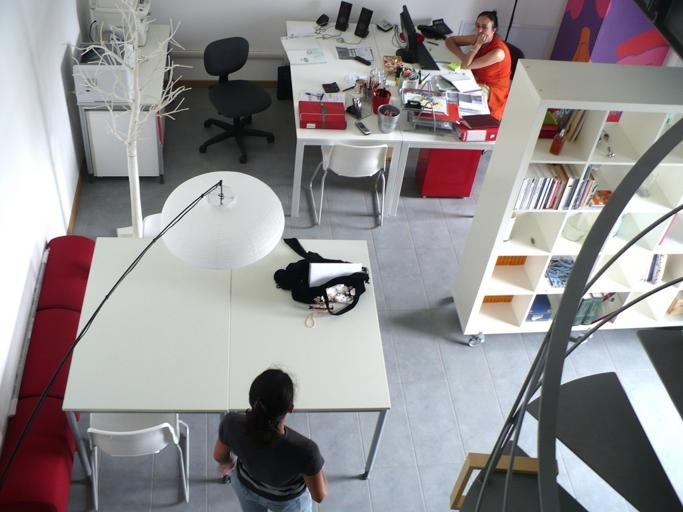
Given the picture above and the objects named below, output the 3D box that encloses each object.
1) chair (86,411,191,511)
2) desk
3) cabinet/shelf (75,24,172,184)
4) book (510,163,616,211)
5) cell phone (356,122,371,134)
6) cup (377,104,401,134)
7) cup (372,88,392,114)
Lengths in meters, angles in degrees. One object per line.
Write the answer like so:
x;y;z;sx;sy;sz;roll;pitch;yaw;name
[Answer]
-1.348;1.357;3.330;0.484;0.895;0.643;2;68;-14;chair
-0.797;1.028;4.042;1.936;1.001;1.549;0;66;-3;desk
-2.371;-2.004;5.639;0.746;1.317;2.027;-3;47;-18;cabinet/shelf
1.617;-0.541;3.760;0.669;0.354;0.212;0;42;-7;book
0.217;-1.247;4.888;0.076;0.041;0.176;-16;60;-21;cell phone
0.457;-1.355;4.873;0.212;0.210;0.264;1;53;-1;cup
0.381;-1.583;5.116;0.181;0.215;0.245;4;56;-9;cup
